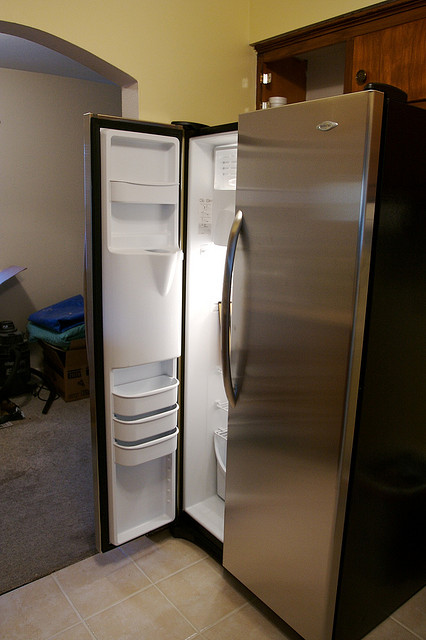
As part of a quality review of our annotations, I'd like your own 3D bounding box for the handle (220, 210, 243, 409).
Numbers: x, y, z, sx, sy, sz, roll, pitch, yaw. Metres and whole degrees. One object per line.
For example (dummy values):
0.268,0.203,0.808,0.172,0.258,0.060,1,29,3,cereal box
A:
0.052,-0.015,1.470,0.061,0.609,0.111,-1,8,-8,handle
